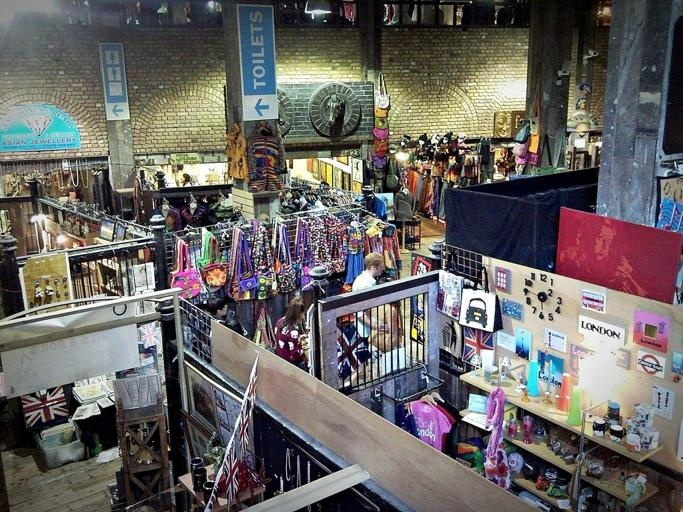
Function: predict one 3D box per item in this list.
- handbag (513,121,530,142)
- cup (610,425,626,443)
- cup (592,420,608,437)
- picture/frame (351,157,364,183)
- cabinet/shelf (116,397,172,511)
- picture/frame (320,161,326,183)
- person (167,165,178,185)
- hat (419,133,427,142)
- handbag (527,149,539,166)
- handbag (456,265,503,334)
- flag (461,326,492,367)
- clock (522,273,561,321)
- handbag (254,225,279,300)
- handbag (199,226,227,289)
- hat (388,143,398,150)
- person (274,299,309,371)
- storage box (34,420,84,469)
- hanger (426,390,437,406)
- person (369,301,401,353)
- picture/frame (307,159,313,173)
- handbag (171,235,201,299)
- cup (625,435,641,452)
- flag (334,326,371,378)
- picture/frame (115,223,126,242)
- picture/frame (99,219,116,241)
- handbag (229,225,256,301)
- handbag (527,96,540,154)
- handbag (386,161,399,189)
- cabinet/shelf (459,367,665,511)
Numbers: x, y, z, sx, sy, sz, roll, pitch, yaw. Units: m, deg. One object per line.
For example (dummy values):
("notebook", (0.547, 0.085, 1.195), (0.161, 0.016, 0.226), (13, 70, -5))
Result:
("handbag", (4.123, -2.815, 11.617), (0.317, 0.484, 0.421), (-1, 13, 16))
("cup", (2.327, 1.482, 4.352), (0.130, 0.129, 0.103), (-4, 5, -33))
("cup", (2.229, 1.470, 4.419), (0.090, 0.142, 0.149), (-1, -4, 28))
("picture/frame", (0.450, -2.424, 14.387), (0.091, 0.763, 0.604), (-4, 12, -24))
("cabinet/shelf", (-1.959, 1.755, 5.030), (0.466, 1.046, 0.910), (-10, 14, -24))
("picture/frame", (-0.623, -2.835, 17.112), (0.113, 0.624, 0.538), (-7, 13, -13))
("person", (-4.920, -2.358, 14.881), (0.351, 0.514, 0.871), (-9, 14, -18))
("hat", (2.373, -3.428, 15.012), (0.216, 0.259, 0.308), (21, 28, 21))
("handbag", (4.316, -2.221, 11.543), (0.265, 0.300, 0.277), (-4, 7, -30))
("handbag", (1.419, 0.434, 5.199), (0.511, 0.858, 0.256), (8, 16, 31))
("flag", (1.421, 0.919, 5.348), (0.374, 0.475, 0.024), (7, 17, 20))
("clock", (1.878, 0.364, 4.780), (0.043, 0.451, 0.365), (-11, 14, -31))
("handbag", (-1.004, 0.062, 6.889), (0.197, 1.004, 0.395), (1, 13, 25))
("handbag", (-1.653, 0.033, 6.590), (0.336, 0.765, 0.271), (-8, 13, -16))
("hat", (1.537, -3.340, 15.674), (0.238, 0.120, 0.357), (5, 11, -19))
("person", (-0.567, 0.889, 5.709), (0.344, 0.852, 0.245), (-6, 12, -5))
("storage box", (-3.596, 2.414, 6.645), (0.516, 0.537, 0.523), (-18, 39, -32))
("hanger", (0.902, 1.431, 5.168), (0.046, 0.129, 0.088), (-12, -7, 38))
("person", (0.470, 0.715, 5.451), (0.309, 0.636, 0.801), (-3, 13, 4))
("picture/frame", (-1.125, -3.213, 18.324), (0.054, 0.454, 0.438), (-5, 13, -19))
("handbag", (-1.911, 0.161, 6.283), (0.360, 0.793, 0.263), (-8, 13, -16))
("cup", (2.408, 1.529, 4.241), (0.083, 0.104, 0.138), (0, 12, 6))
("flag", (0.099, 0.946, 5.025), (0.040, 0.408, 0.426), (-5, 51, 44))
("picture/frame", (-2.885, -0.301, 6.697), (0.217, 0.332, 0.040), (4, 1, 23))
("picture/frame", (-3.203, -0.354, 7.024), (0.230, 0.360, 0.045), (16, 17, 33))
("handbag", (-1.302, 0.102, 6.675), (0.162, 0.960, 0.394), (8, 17, 44))
("handbag", (4.404, -2.960, 11.668), (0.205, 1.211, 0.569), (1, 13, 23))
("handbag", (1.399, -2.193, 14.000), (0.422, 0.833, 0.348), (-5, 12, -3))
("cabinet/shelf", (1.994, 1.584, 4.439), (0.269, 0.590, 1.193), (-7, 16, -29))
